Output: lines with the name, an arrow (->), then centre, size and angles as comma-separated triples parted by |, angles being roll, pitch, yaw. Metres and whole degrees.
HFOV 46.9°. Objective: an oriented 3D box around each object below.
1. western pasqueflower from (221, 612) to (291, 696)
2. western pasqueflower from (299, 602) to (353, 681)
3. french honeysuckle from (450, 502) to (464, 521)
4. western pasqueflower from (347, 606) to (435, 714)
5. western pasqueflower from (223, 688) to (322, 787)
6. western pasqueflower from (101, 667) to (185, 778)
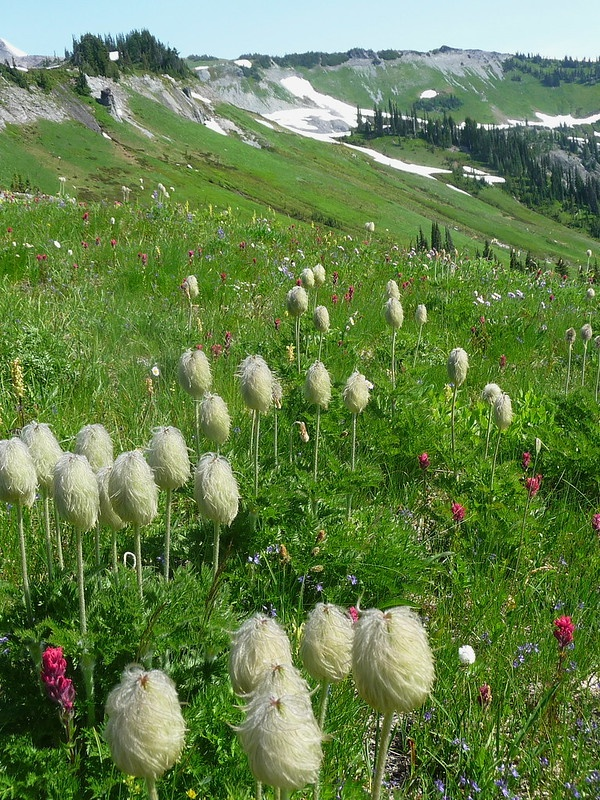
western pasqueflower -> -0.122, 0.674, 1.794 | 0.105, 0.234, 0.140 | -2, -19, 8
western pasqueflower -> 0.059, 0.659, 1.881 | 0.143, 0.318, 0.175 | 2, -18, -2
french honeysuckle -> 0.940, 0.676, 4.160 | 0.061, 0.127, 0.069 | 13, 23, 33
western pasqueflower -> 0.216, 0.631, 1.693 | 0.132, 0.268, 0.189 | -8, -1, 6
western pasqueflower -> -0.054, 0.707, 1.440 | 0.127, 0.236, 0.190 | -6, 15, 13
western pasqueflower -> -0.367, 0.765, 1.611 | 0.135, 0.255, 0.149 | -24, -16, 35
